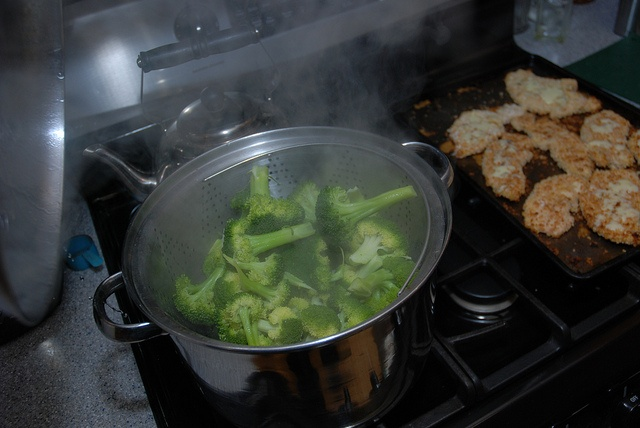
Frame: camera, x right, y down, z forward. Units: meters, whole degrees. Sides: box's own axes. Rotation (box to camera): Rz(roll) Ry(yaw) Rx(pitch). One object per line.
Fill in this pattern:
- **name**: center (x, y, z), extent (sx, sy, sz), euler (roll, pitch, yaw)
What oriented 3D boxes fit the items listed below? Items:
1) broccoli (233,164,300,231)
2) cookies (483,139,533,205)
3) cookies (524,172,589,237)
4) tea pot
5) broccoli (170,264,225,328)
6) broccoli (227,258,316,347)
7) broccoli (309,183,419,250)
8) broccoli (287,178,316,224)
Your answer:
- **broccoli**: center (-0.131, -0.012, 1.349), extent (0.140, 0.086, 0.171), euler (-15, 77, -10)
- **cookies**: center (0.580, -0.138, 1.669), extent (0.148, 0.037, 0.266), euler (6, 50, 20)
- **cookies**: center (0.697, -0.037, 1.590), extent (0.152, 0.025, 0.248), euler (27, 57, 31)
- **tea pot**: center (-0.392, -0.339, 1.513), extent (0.535, 0.471, 0.366), euler (-21, 51, -14)
- **broccoli**: center (-0.277, 0.190, 1.216), extent (0.095, 0.047, 0.116), euler (37, 54, 12)
- **broccoli**: center (-0.128, 0.191, 1.190), extent (0.109, 0.081, 0.196), euler (-39, 80, -21)
- **broccoli**: center (0.116, -0.015, 1.284), extent (0.215, 0.099, 0.127), euler (-22, 50, -9)
- **broccoli**: center (-0.048, -0.038, 1.381), extent (0.069, 0.048, 0.095), euler (-23, 43, -1)
